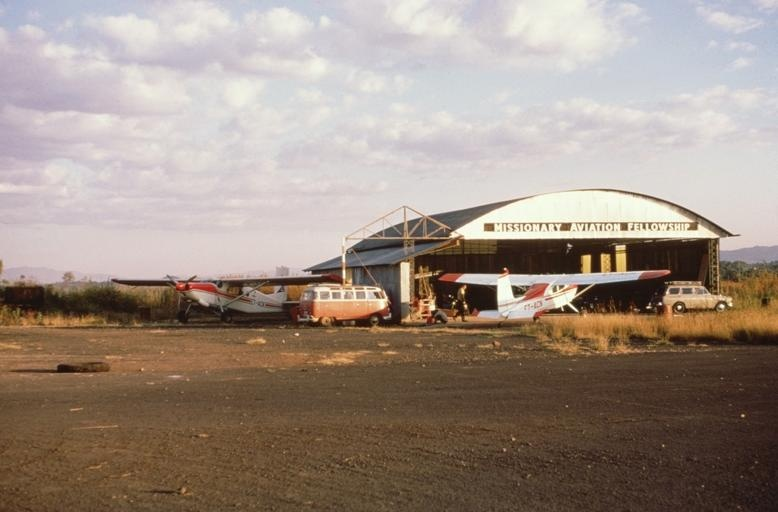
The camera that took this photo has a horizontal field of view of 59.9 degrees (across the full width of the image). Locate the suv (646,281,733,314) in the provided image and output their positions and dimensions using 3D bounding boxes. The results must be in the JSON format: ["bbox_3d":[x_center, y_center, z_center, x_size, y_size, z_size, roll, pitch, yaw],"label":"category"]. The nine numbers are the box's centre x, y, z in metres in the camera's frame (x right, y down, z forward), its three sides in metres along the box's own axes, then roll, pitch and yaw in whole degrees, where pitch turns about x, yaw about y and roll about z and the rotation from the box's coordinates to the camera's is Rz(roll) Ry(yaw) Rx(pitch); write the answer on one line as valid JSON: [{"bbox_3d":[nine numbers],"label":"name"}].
[{"bbox_3d":[16.109,2.254,36.095,3.598,1.368,1.863,-2,-3,-3],"label":"suv"}]
